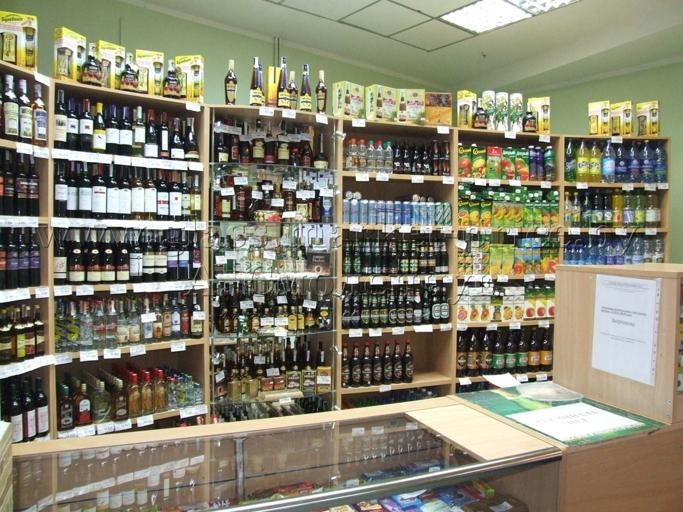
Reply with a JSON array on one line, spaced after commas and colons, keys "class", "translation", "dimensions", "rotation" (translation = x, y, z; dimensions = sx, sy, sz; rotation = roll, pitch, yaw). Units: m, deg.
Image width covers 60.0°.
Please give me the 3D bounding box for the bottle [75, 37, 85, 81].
[{"class": "bottle", "translation": [-1.815, -1.377, 4.149], "dimensions": [0.043, 0.308, 0.114], "rotation": [-1, 4, -1]}]
